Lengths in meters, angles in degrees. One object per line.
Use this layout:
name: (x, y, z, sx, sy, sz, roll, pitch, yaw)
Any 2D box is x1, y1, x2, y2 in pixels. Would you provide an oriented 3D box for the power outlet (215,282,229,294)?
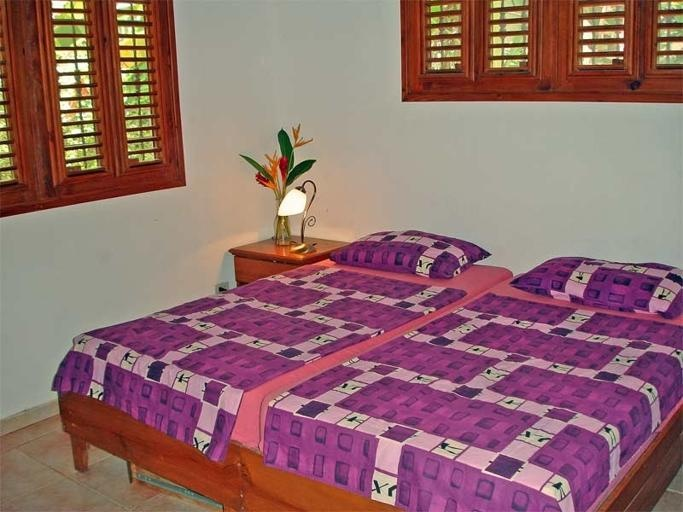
power outlet: (-0.908, 0.238, 3.864, 0.098, 0.077, 0.062, 1, 9, -7)

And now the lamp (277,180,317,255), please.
lamp: (-0.334, -0.321, 3.873, 0.288, 0.492, 0.715, 1, 16, -3)
